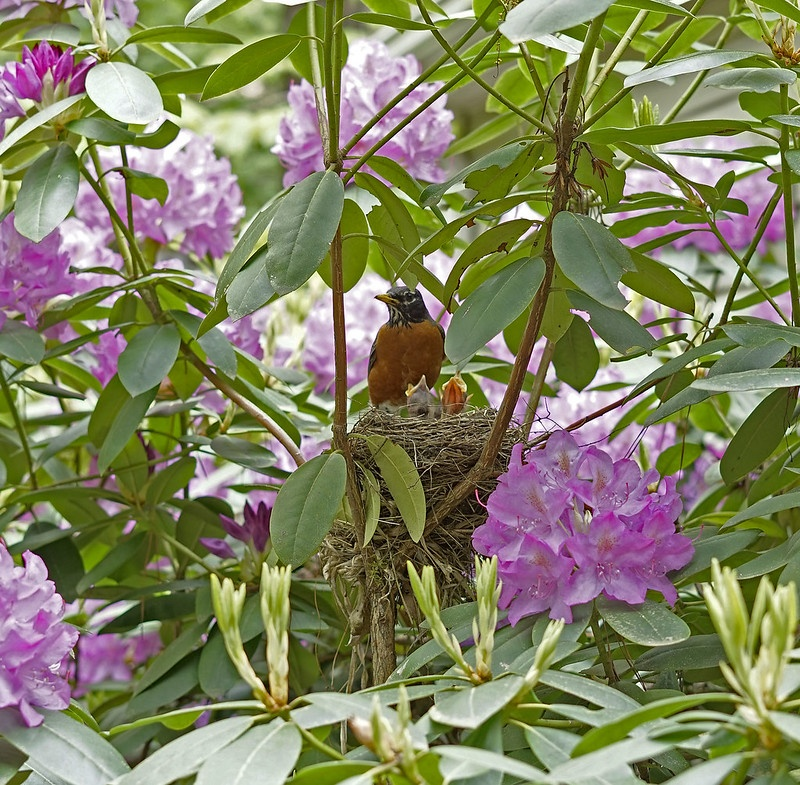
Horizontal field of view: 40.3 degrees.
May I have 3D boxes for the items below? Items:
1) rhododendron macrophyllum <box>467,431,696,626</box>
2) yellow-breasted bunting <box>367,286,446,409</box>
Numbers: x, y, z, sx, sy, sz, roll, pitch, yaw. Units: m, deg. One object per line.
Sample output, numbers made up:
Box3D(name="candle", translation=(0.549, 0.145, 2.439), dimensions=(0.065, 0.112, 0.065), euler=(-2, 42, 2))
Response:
Box3D(name="rhododendron macrophyllum", translation=(0.229, 0.178, 1.346), dimensions=(0.272, 0.144, 0.238), euler=(-4, 52, -3))
Box3D(name="yellow-breasted bunting", translation=(0.014, -0.092, 2.208), dimensions=(0.143, 0.185, 0.268), euler=(3, 52, 3))
